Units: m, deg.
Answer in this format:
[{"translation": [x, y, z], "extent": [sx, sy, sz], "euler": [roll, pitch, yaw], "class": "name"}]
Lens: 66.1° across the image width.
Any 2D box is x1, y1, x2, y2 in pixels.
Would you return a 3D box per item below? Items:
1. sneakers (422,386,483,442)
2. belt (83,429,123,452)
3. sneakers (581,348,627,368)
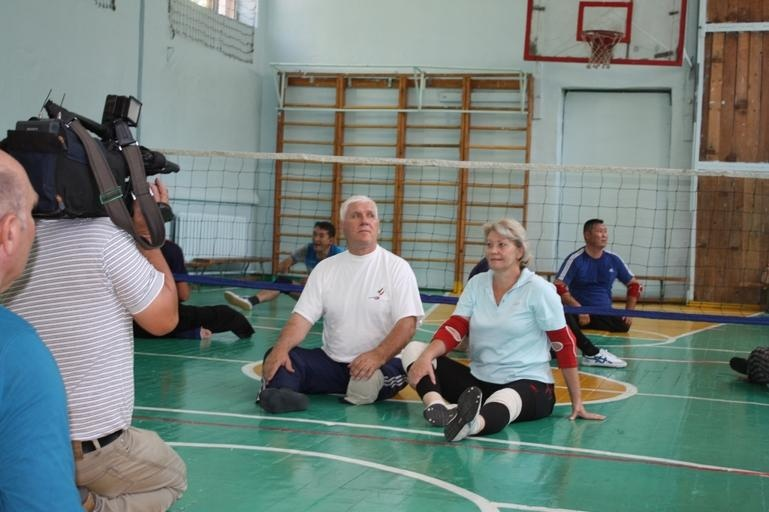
[{"translation": [0.394, 0.880, 3.235], "extent": [0.123, 0.257, 0.354], "euler": [13, -44, -29], "class": "sneakers"}, {"translation": [-0.961, 0.627, 2.001], "extent": [0.105, 0.025, 0.106], "euler": [-11, 7, -26], "class": "belt"}, {"translation": [1.976, 0.915, 5.374], "extent": [0.460, 0.189, 0.165], "euler": [0, 1, 9], "class": "sneakers"}]
